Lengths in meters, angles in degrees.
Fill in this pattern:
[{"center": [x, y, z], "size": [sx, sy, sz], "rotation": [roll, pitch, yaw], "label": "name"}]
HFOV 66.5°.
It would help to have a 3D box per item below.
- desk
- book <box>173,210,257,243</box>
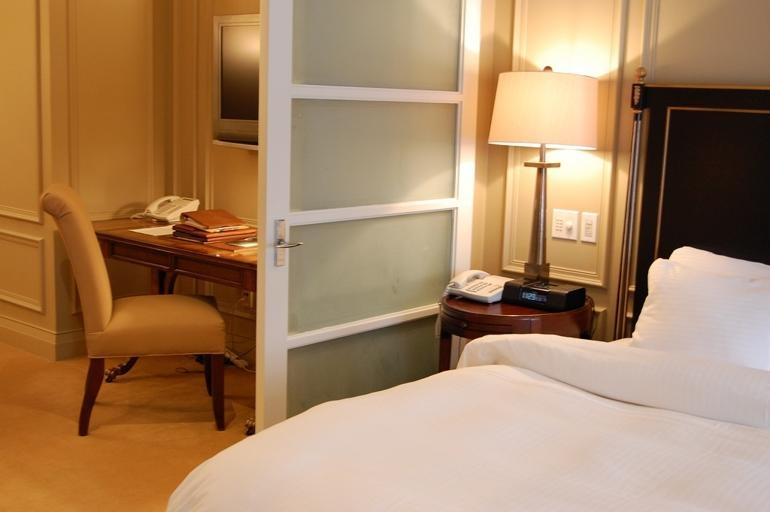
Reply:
[{"center": [-1.326, 0.283, 3.770], "size": [1.003, 0.700, 0.510], "rotation": [14, 19, 41], "label": "desk"}, {"center": [-1.066, -0.193, 3.797], "size": [0.309, 0.109, 0.309], "rotation": [18, 21, 41], "label": "book"}]
